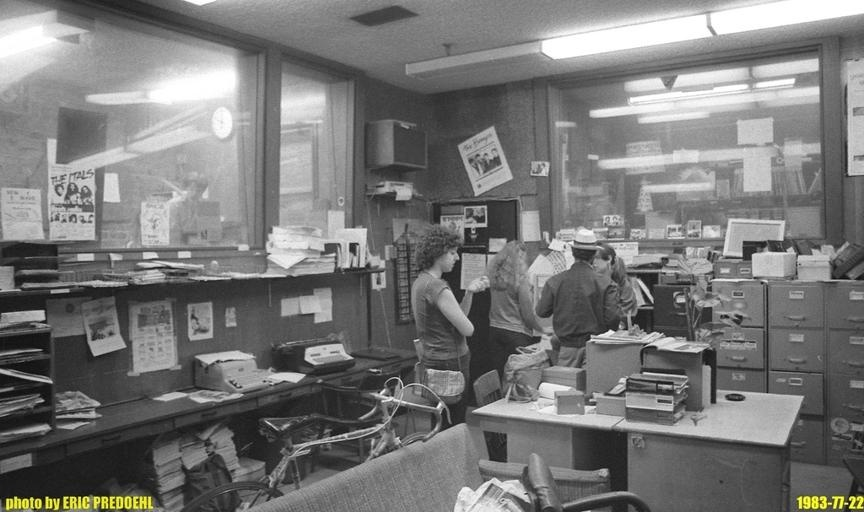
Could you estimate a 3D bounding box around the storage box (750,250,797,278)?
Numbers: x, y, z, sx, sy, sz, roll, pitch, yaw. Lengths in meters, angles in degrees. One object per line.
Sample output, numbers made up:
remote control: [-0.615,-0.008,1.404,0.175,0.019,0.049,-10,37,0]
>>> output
storage box: [3.616,0.077,6.671,0.364,0.225,0.334,0,1,7]

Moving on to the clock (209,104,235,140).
clock: [-2.184,-1.393,6.561,0.024,0.233,0.272,-1,2,41]

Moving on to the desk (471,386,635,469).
desk: [0.992,1.439,5.331,1.087,0.890,0.690,2,4,25]

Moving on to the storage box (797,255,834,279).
storage box: [3.950,0.110,6.489,0.296,0.186,0.281,1,2,28]

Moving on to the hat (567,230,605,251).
hat: [1.502,-0.160,6.216,0.337,0.110,0.341,2,1,5]

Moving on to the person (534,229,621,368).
person: [1.398,0.396,6.088,0.792,1.316,0.415,-2,2,12]

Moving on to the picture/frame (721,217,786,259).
picture/frame: [3.566,-0.219,6.980,0.605,0.429,0.417,-1,2,25]
